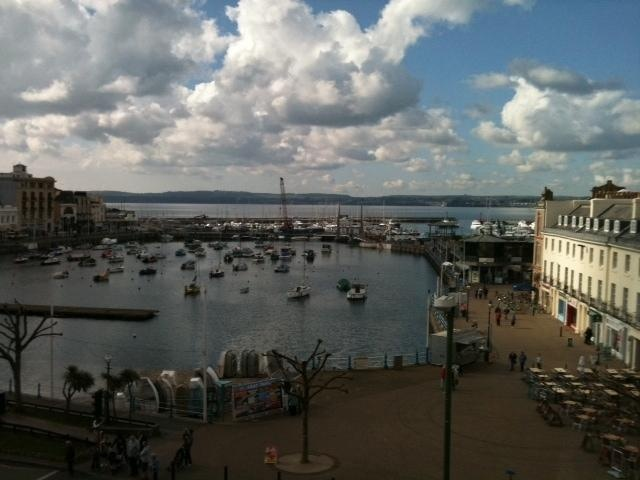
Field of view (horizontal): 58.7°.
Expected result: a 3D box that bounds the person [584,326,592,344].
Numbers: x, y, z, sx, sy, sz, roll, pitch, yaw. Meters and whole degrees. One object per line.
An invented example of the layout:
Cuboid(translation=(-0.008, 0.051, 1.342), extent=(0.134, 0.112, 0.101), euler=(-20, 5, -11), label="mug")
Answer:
Cuboid(translation=(24.778, 8.779, 52.507), extent=(0.670, 1.373, 1.315), euler=(2, 5, 25), label="person")

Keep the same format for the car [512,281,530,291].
Cuboid(translation=(26.259, 5.913, 74.269), extent=(1.825, 0.710, 1.847), euler=(0, 4, 21), label="car")
